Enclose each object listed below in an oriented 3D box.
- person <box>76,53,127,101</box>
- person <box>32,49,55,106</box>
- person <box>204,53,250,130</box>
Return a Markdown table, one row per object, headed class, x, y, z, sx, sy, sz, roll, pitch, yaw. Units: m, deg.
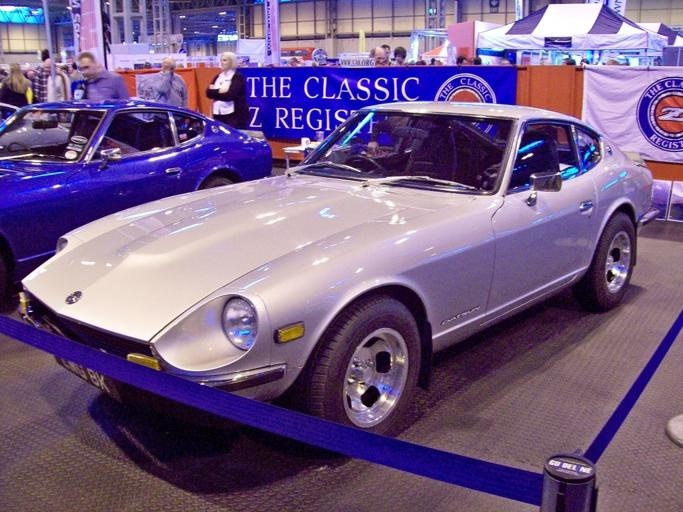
| class | x | y | z | sx | sy | sz | roll | pitch | yaw |
| --- | --- | --- | --- | --- | --- | --- | --- | --- | --- |
| person | -3.555 | -2.689 | 6.873 | 0.655 | 0.679 | 0.439 | -3 | 19 | -5 |
| person | -7.077 | -4.316 | 11.092 | 0.469 | 1.377 | 0.425 | 6 | 11 | 14 |
| person | -2.059 | -3.316 | 8.958 | 0.381 | 0.998 | 0.367 | 13 | 5 | 27 |
